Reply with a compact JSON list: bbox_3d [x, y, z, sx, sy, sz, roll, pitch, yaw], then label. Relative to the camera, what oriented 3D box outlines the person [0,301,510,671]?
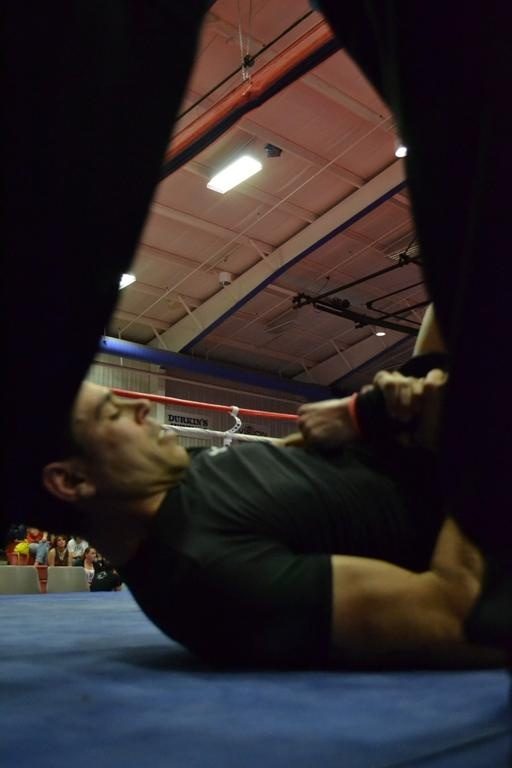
[{"bbox_3d":[0.065,0.192,1.021,0.819,0.330,0.483,-16,10,-8],"label":"person"}]
